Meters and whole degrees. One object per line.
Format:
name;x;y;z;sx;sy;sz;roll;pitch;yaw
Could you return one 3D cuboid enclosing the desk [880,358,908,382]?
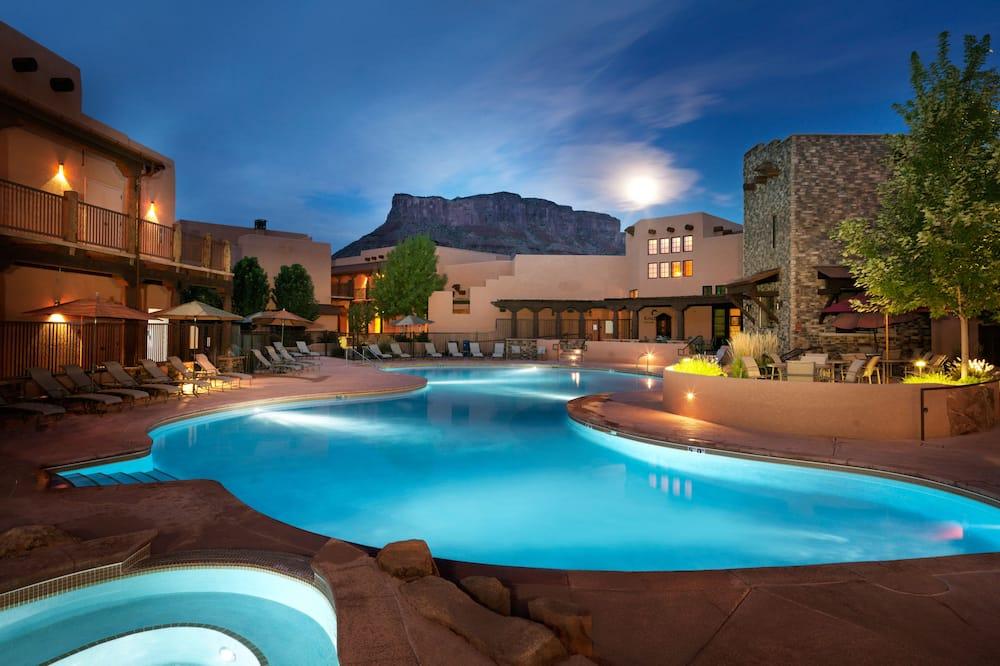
desk;13.217;1.206;20.693;0.813;0.821;3.326;-2;-1;32
